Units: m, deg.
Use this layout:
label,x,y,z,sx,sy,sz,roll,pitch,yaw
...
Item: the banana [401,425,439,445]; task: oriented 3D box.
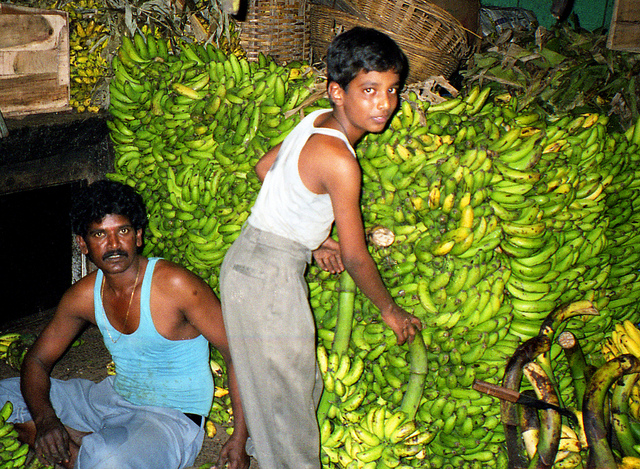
label,x,y,z,sx,sy,sz,roll,pitch,yaw
banana,0.631,1.291,3.768,0.241,0.050,0.084,-29,16,-20

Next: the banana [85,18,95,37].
label,x,y,z,sx,sy,sz,roll,pitch,yaw
banana,-2.002,-1.815,5.099,0.052,0.165,0.060,20,0,0

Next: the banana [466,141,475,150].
label,x,y,z,sx,sy,sz,roll,pitch,yaw
banana,0.985,-0.596,3.854,0.041,0.054,0.025,1,0,5

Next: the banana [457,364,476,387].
label,x,y,z,sx,sy,sz,roll,pitch,yaw
banana,0.957,0.931,3.845,0.102,0.158,0.055,13,13,16

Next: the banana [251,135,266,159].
label,x,y,z,sx,sy,sz,roll,pitch,yaw
banana,-0.448,-0.642,4.187,0.052,0.105,0.189,2,56,-44

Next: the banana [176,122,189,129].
label,x,y,z,sx,sy,sz,roll,pitch,yaw
banana,-1.047,-0.850,4.525,0.114,0.027,0.038,-24,-17,-3

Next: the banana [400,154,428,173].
label,x,y,z,sx,sy,sz,roll,pitch,yaw
banana,0.606,-0.479,3.897,0.070,0.216,0.069,44,31,-14

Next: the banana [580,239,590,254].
label,x,y,z,sx,sy,sz,roll,pitch,yaw
banana,1.776,0.075,3.941,0.034,0.121,0.040,21,-13,15

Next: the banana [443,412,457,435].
label,x,y,z,sx,sy,sz,roll,pitch,yaw
banana,0.846,1.239,3.867,0.053,0.157,0.056,23,10,39

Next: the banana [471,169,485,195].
label,x,y,z,sx,sy,sz,roll,pitch,yaw
banana,1.003,-0.344,3.711,0.051,0.173,0.057,17,9,12

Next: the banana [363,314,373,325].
label,x,y,z,sx,sy,sz,roll,pitch,yaw
banana,0.334,0.595,4.065,0.061,0.059,0.034,39,8,20

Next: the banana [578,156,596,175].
label,x,y,z,sx,sy,sz,roll,pitch,yaw
banana,1.846,-0.480,4.056,0.034,0.142,0.049,38,-10,-11

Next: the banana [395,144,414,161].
label,x,y,z,sx,sy,sz,roll,pitch,yaw
banana,0.548,-0.551,3.856,0.163,0.057,0.047,26,20,11

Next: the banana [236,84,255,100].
label,x,y,z,sx,sy,sz,roll,pitch,yaw
banana,-0.555,-1.061,4.298,0.141,0.114,0.045,13,13,17

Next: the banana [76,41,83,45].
label,x,y,z,sx,sy,sz,roll,pitch,yaw
banana,-2.100,-1.688,5.109,0.066,0.035,0.013,-1,8,-30

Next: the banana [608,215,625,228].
label,x,y,z,sx,sy,sz,roll,pitch,yaw
banana,2.198,-0.103,4.331,0.108,0.105,0.027,4,14,-20

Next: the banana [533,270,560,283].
label,x,y,z,sx,sy,sz,roll,pitch,yaw
banana,1.459,0.276,3.851,0.207,0.067,0.056,-19,-8,13

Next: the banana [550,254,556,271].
label,x,y,z,sx,sy,sz,roll,pitch,yaw
banana,1.541,0.184,3.884,0.047,0.132,0.037,-1,19,15

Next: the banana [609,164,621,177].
label,x,y,z,sx,sy,sz,roll,pitch,yaw
banana,2.099,-0.471,4.185,0.034,0.041,0.125,15,51,37

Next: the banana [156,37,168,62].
label,x,y,z,sx,sy,sz,roll,pitch,yaw
banana,-1.304,-1.544,4.848,0.101,0.187,0.062,-9,6,9

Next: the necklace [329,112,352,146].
label,x,y,z,sx,sy,sz,roll,pitch,yaw
necklace,0.115,-0.594,3.259,0.026,0.244,0.035,-28,16,31

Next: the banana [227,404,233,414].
label,x,y,z,sx,sy,sz,roll,pitch,yaw
banana,-0.673,1.303,4.354,0.031,0.039,0.067,7,13,-10

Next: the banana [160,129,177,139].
label,x,y,z,sx,sy,sz,roll,pitch,yaw
banana,-1.202,-0.798,4.627,0.051,0.057,0.173,-35,8,-36

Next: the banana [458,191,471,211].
label,x,y,z,sx,sy,sz,roll,pitch,yaw
banana,0.906,-0.219,3.728,0.045,0.132,0.044,32,8,-25

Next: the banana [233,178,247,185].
label,x,y,z,sx,sy,sz,roll,pitch,yaw
banana,-0.587,-0.401,4.311,0.030,0.037,0.108,-20,3,-41

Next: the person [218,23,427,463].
label,x,y,z,sx,sy,sz,roll,pitch,yaw
person,-0.068,0.127,3.484,1.024,2.673,0.390,14,13,20

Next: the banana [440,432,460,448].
label,x,y,z,sx,sy,sz,roll,pitch,yaw
banana,0.852,1.361,3.852,0.134,0.059,0.047,12,3,15

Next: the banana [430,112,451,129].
label,x,y,z,sx,sy,sz,roll,pitch,yaw
banana,0.809,-0.773,3.886,0.105,0.109,0.045,-6,-32,9

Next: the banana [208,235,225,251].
label,x,y,z,sx,sy,sz,roll,pitch,yaw
banana,-0.775,0.061,4.420,0.049,0.175,0.058,31,-5,-8

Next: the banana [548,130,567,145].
label,x,y,z,sx,sy,sz,roll,pitch,yaw
banana,1.639,-0.688,4.061,0.140,0.105,0.044,-1,16,-36

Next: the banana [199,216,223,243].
label,x,y,z,sx,sy,sz,roll,pitch,yaw
banana,-0.795,-0.014,4.455,0.082,0.262,0.171,35,12,-17

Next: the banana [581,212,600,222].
label,x,y,z,sx,sy,sz,roll,pitch,yaw
banana,1.854,-0.122,4.009,0.124,0.074,0.034,1,15,-30

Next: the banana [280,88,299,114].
label,x,y,z,sx,sy,sz,roll,pitch,yaw
banana,-0.193,-0.936,4.169,0.060,0.220,0.069,40,11,31

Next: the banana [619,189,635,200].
label,x,y,z,sx,sy,sz,roll,pitch,yaw
banana,2.239,-0.300,4.290,0.124,0.065,0.036,0,7,-11

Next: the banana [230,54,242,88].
label,x,y,z,sx,sy,sz,roll,pitch,yaw
banana,-0.633,-1.268,4.479,0.070,0.265,0.088,-17,6,-39

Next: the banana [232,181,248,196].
label,x,y,z,sx,sy,sz,roll,pitch,yaw
banana,-0.572,-0.347,4.239,0.114,0.056,0.038,-34,-12,20

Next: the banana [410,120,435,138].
label,x,y,z,sx,sy,sz,roll,pitch,yaw
banana,0.685,-0.705,3.889,0.034,0.146,0.051,51,-11,0

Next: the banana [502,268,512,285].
label,x,y,z,sx,sy,sz,roll,pitch,yaw
banana,1.198,0.266,3.774,0.032,0.113,0.039,6,-21,10

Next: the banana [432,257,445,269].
label,x,y,z,sx,sy,sz,roll,pitch,yaw
banana,0.760,0.183,3.782,0.068,0.066,0.042,-20,6,15

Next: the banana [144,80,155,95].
label,x,y,z,sx,sy,sz,roll,pitch,yaw
banana,-1.402,-1.219,4.786,0.060,0.046,0.171,3,37,-51

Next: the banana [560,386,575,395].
label,x,y,z,sx,sy,sz,roll,pitch,yaw
banana,1.718,1.088,4.066,0.108,0.063,0.026,-10,18,-5

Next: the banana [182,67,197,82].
label,x,y,z,sx,sy,sz,roll,pitch,yaw
banana,-1.025,-1.271,4.599,0.063,0.114,0.037,56,20,3

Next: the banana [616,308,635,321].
label,x,y,z,sx,sy,sz,roll,pitch,yaw
banana,2.220,0.579,4.270,0.029,0.129,0.044,31,27,-45

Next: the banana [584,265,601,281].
label,x,y,z,sx,sy,sz,roll,pitch,yaw
banana,1.869,0.264,4.037,0.029,0.104,0.036,32,-11,-4

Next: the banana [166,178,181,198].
label,x,y,z,sx,sy,sz,roll,pitch,yaw
banana,-1.144,-0.370,4.598,0.070,0.198,0.055,-31,-2,-12

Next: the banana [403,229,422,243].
label,x,y,z,sx,sy,sz,roll,pitch,yaw
banana,0.612,0.008,3.874,0.045,0.138,0.040,45,15,-38

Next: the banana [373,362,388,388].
label,x,y,z,sx,sy,sz,roll,pitch,yaw
banana,0.407,0.967,4.057,0.065,0.191,0.063,-14,11,28

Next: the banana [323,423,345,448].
label,x,y,z,sx,sy,sz,roll,pitch,yaw
banana,0.105,1.374,3.948,0.063,0.230,0.075,34,-4,1

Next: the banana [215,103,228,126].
label,x,y,z,sx,sy,sz,roll,pitch,yaw
banana,-0.729,-0.903,4.322,0.085,0.163,0.034,15,14,24

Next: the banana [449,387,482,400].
label,x,y,z,sx,sy,sz,roll,pitch,yaw
banana,0.957,1.050,3.844,0.252,0.070,0.081,5,-9,16

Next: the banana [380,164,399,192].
label,x,y,z,sx,sy,sz,roll,pitch,yaw
banana,0.463,-0.389,3.919,0.128,0.184,0.057,10,13,4

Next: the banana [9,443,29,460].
label,x,y,z,sx,sy,sz,roll,pitch,yaw
banana,-1.907,1.387,3.754,0.048,0.036,0.137,-13,23,50

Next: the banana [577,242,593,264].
label,x,y,z,sx,sy,sz,roll,pitch,yaw
banana,1.780,0.129,3.971,0.056,0.206,0.072,20,-8,1

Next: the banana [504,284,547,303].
label,x,y,z,sx,sy,sz,roll,pitch,yaw
banana,1.359,0.383,3.847,0.306,0.104,0.064,13,6,7

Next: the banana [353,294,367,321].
label,x,y,z,sx,sy,sz,roll,pitch,yaw
banana,0.274,0.498,4.015,0.122,0.154,0.053,4,8,-1

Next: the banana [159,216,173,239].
label,x,y,z,sx,sy,sz,roll,pitch,yaw
banana,-1.239,-0.057,4.778,0.044,0.133,0.170,-22,33,19

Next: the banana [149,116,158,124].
label,x,y,z,sx,sy,sz,roll,pitch,yaw
banana,-1.333,-0.932,4.698,0.031,0.115,0.020,58,33,9

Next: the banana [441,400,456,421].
label,x,y,z,sx,sy,sz,roll,pitch,yaw
banana,0.834,1.149,3.826,0.053,0.177,0.053,25,7,9
